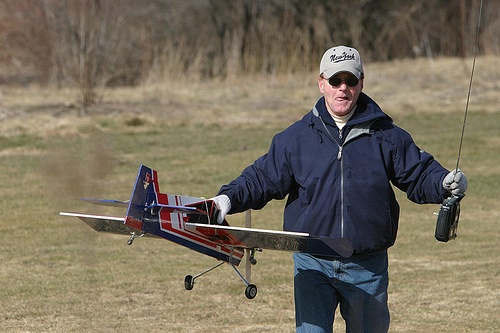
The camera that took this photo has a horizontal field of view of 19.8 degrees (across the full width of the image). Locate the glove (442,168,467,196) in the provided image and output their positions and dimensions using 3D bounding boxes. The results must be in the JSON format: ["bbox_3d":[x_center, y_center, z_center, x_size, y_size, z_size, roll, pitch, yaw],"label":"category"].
[{"bbox_3d":[3.184,0.256,22.297,0.417,0.415,0.162,-5,5,-18],"label":"glove"}]

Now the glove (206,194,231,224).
[{"bbox_3d":[-0.469,0.658,22.403,0.177,0.426,0.311,23,-13,37],"label":"glove"}]
